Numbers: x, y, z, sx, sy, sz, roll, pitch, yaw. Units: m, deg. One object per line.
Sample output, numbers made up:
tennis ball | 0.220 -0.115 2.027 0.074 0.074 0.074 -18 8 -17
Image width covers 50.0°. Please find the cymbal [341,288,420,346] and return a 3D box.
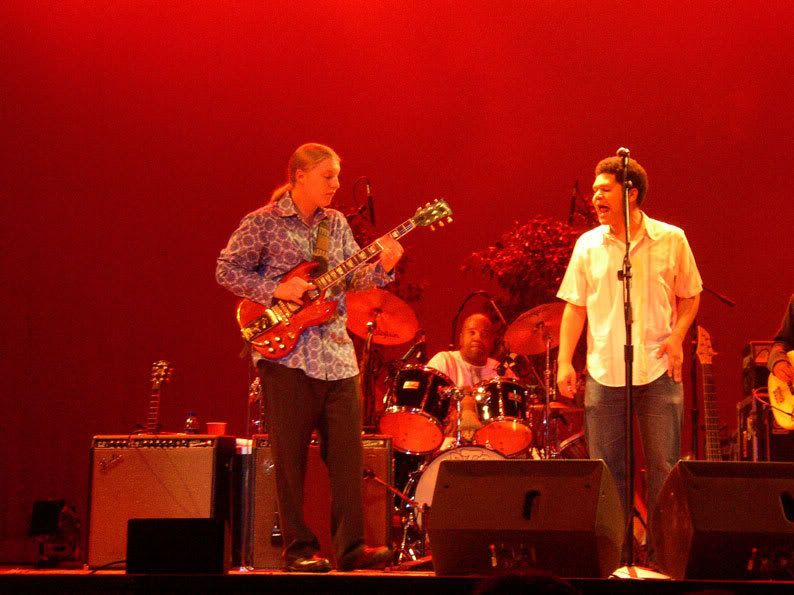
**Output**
cymbal | -0.120 0.154 6.817 0.458 0.115 0.483 16 -52 -10

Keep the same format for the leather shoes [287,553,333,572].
leather shoes | -0.491 1.458 4.658 0.239 0.091 0.099 -1 -19 -1

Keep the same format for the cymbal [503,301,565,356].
cymbal | 1.059 0.259 6.650 0.377 0.158 0.421 -8 -48 -1

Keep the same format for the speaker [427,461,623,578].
speaker | 0.629 1.098 4.231 0.922 0.576 0.267 -4 -19 10

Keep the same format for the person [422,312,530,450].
person | 0.650 0.755 6.779 0.944 0.930 0.732 4 -47 2
